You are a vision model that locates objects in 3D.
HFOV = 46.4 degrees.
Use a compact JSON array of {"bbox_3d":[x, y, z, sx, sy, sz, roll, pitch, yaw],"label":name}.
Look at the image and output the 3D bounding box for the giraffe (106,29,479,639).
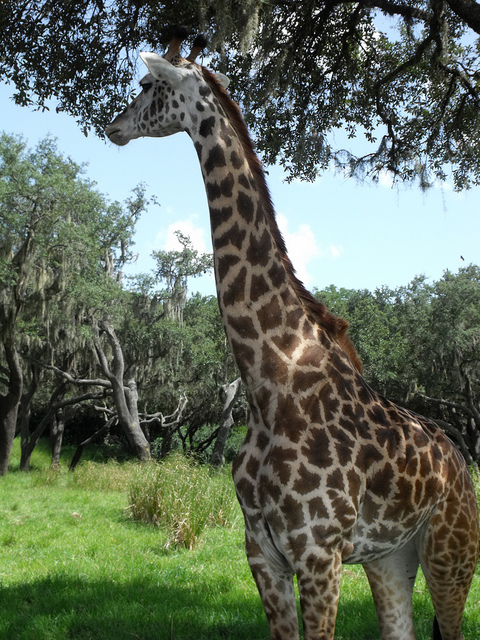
[{"bbox_3d":[0.286,0.024,2.409,1.697,2.538,0.714,10,-10,-18],"label":"giraffe"}]
